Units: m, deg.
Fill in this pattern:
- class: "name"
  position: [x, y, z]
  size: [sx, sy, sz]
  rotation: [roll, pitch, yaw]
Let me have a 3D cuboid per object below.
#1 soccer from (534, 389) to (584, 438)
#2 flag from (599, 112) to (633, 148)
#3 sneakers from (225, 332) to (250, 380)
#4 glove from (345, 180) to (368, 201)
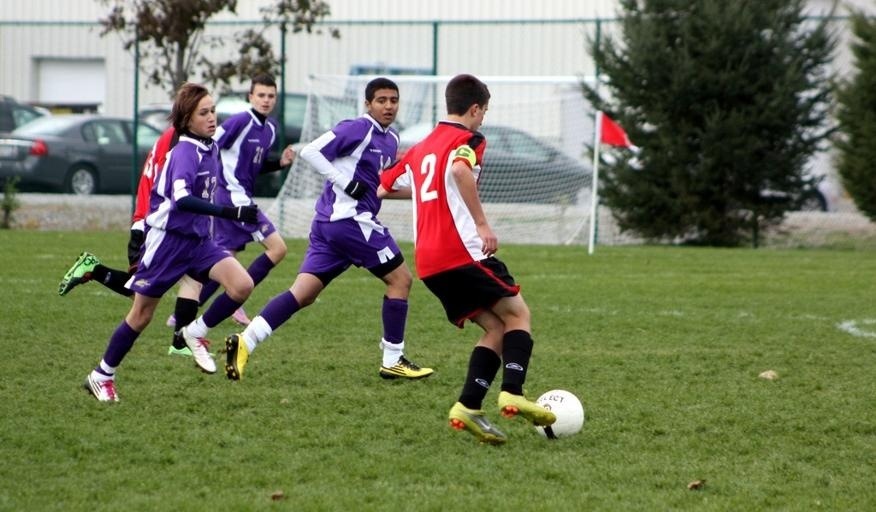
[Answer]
- class: "soccer"
  position: [1.277, 1.725, 12.320]
  size: [0.493, 0.483, 0.482]
  rotation: [-4, -24, -4]
- class: "flag"
  position: [2.906, -2.025, 18.520]
  size: [0.545, 0.537, 0.769]
  rotation: [3, 7, 9]
- class: "sneakers"
  position: [-2.223, 1.067, 12.485]
  size: [0.306, 0.534, 0.199]
  rotation: [-4, 3, -23]
- class: "glove"
  position: [-0.905, -0.746, 13.037]
  size: [0.316, 0.214, 0.160]
  rotation: [-4, 9, -43]
